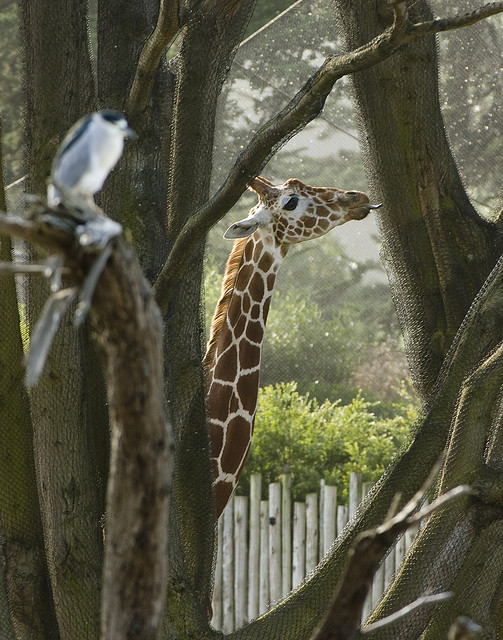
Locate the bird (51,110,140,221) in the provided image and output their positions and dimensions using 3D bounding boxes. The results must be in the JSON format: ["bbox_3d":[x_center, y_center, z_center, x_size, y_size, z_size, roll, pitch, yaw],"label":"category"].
[{"bbox_3d":[-0.358,-0.345,3.512,0.196,0.265,0.123,0,-14,0],"label":"bird"}]

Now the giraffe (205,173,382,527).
[{"bbox_3d":[0.020,0.068,6.119,0.819,1.384,0.431,6,-9,-40],"label":"giraffe"}]
